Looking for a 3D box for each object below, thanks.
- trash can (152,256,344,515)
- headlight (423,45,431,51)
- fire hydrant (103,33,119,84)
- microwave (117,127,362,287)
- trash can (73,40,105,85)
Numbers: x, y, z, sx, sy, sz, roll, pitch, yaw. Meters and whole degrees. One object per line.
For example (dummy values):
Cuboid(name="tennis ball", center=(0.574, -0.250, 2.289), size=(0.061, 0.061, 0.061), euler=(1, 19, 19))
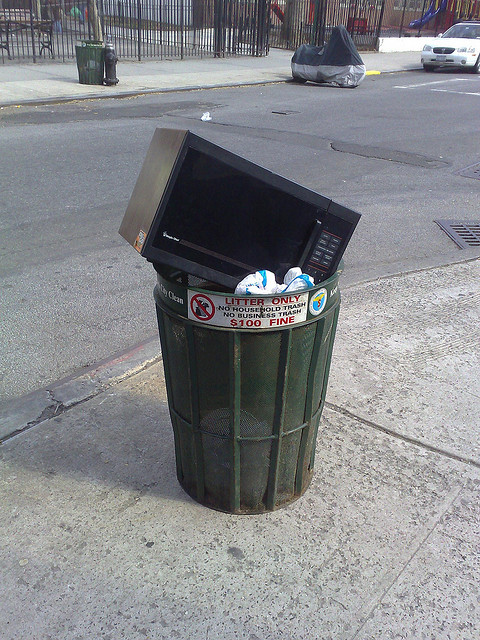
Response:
Cuboid(name="trash can", center=(0.021, 0.237, 2.041), size=(0.623, 0.958, 0.649), euler=(-3, 27, -6))
Cuboid(name="headlight", center=(8.699, -12.470, 22.657), size=(0.306, 0.271, 0.459), euler=(10, 25, 16))
Cuboid(name="fire hydrant", center=(-3.809, -7.598, 14.492), size=(0.418, 1.087, 0.422), euler=(3, 23, -4))
Cuboid(name="microwave", center=(0.003, -0.405, 1.785), size=(0.830, 0.516, 0.398), euler=(-3, 24, -14))
Cuboid(name="trash can", center=(-4.638, -7.630, 14.652), size=(0.831, 1.084, 0.841), euler=(-7, 23, -15))
